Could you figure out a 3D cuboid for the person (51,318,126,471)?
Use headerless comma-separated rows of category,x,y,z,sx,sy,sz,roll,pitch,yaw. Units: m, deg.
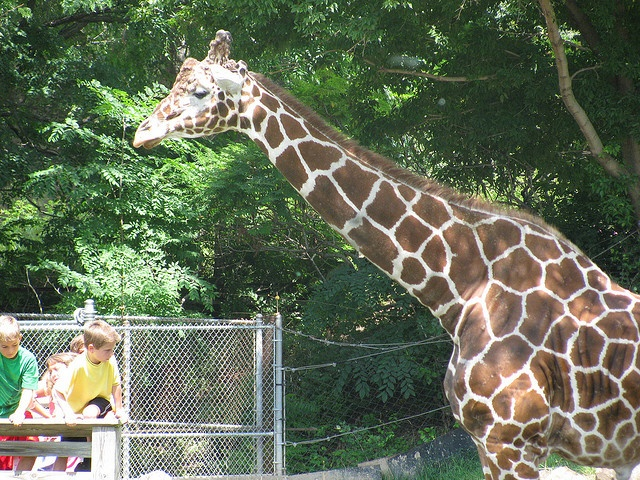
person,-3.342,2.236,17.385,0.843,2.292,1.119,3,14,-5
